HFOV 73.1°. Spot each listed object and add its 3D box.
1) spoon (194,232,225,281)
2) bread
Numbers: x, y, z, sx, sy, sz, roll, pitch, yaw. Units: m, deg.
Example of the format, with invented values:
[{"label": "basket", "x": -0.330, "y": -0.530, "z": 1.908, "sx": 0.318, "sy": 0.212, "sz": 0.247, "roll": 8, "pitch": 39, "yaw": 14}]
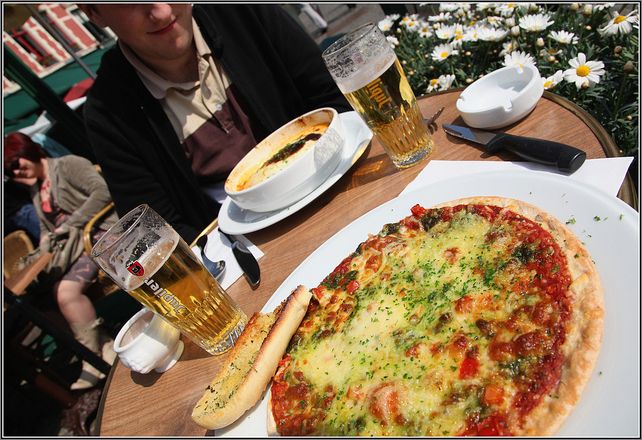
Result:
[{"label": "spoon", "x": -0.856, "y": 0.283, "z": 3.307, "sx": 0.197, "sy": 0.061, "sz": 0.358, "roll": -20, "pitch": 38, "yaw": -8}, {"label": "bread", "x": -0.401, "y": 0.833, "z": 2.716, "sx": 0.960, "sy": 0.165, "sz": 0.489, "roll": -55, "pitch": 30, "yaw": -14}]
